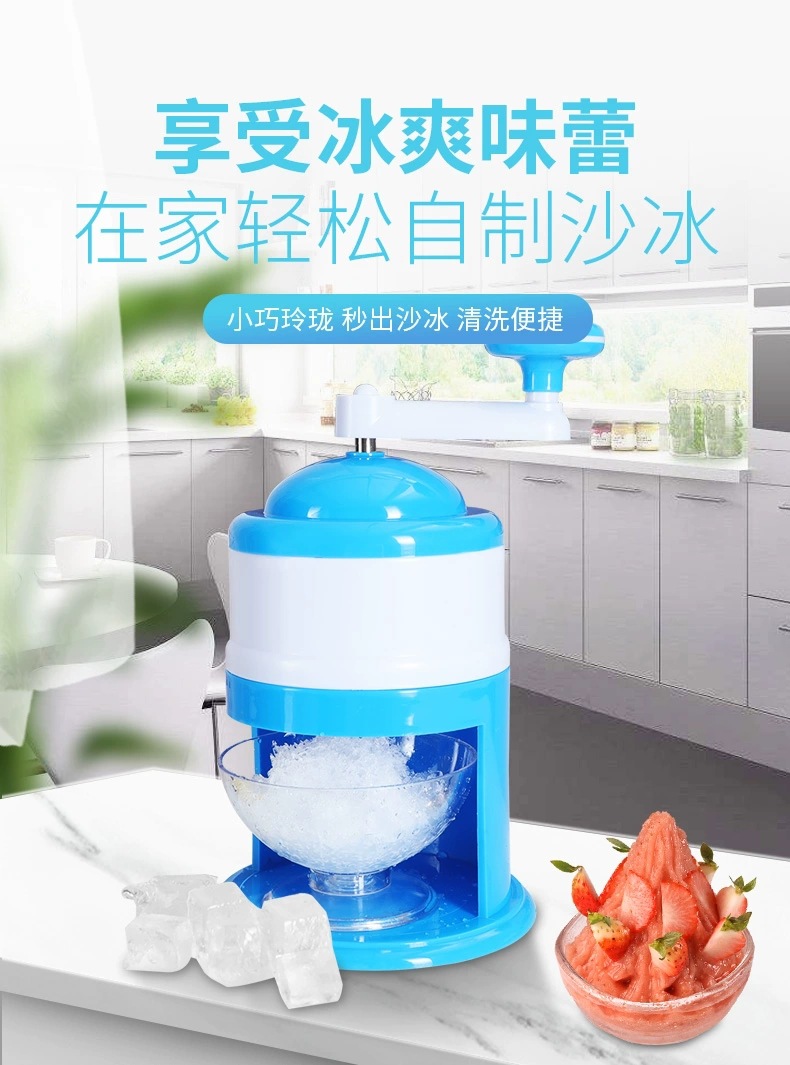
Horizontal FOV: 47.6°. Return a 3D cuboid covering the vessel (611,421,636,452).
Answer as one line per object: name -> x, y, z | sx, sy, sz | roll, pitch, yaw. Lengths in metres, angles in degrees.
vessel -> 0.997, -0.418, 3.913 | 0.120, 0.119, 0.117 | 1, 2, 2

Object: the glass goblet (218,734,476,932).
glass goblet -> -0.026, 0.169, 0.596 | 0.144, 0.084, 0.142 | 0, -5, -1

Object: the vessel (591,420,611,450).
vessel -> 0.919, -0.435, 4.003 | 0.118, 0.120, 0.115 | 1, 1, -11

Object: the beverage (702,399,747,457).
beverage -> 1.287, -0.421, 3.516 | 0.150, 0.262, 0.102 | 0, 2, 17

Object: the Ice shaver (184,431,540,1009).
Ice shaver -> -0.025, 0.127, 0.662 | 0.242, 0.314, 0.226 | -8, -11, 44

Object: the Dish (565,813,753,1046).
Dish -> 0.136, 0.201, 0.509 | 0.098, 0.102, 0.122 | -1, -1, 32

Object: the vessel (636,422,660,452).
vessel -> 1.087, -0.416, 3.864 | 0.119, 0.122, 0.116 | 0, 3, -2
